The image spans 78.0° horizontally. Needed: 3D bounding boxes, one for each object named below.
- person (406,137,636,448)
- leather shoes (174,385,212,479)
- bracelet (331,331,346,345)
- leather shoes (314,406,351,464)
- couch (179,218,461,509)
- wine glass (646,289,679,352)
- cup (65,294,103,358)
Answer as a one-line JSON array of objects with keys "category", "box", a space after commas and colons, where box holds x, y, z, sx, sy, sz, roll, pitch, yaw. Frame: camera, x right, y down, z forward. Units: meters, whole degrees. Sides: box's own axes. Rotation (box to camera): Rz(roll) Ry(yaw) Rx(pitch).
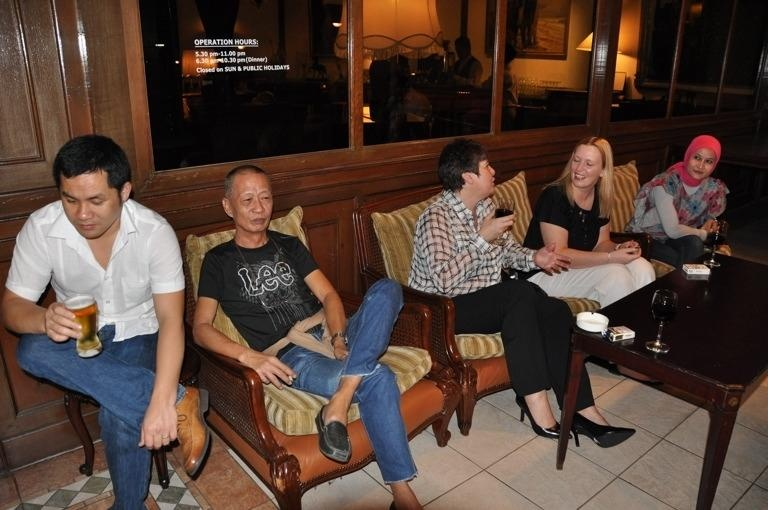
[{"category": "person", "box": [0.637, 0.143, 3.180, 1.260, 1.065, 1.029, -17, -19, 24]}, {"category": "leather shoes", "box": [-0.893, 0.831, 2.255, 0.163, 0.411, 0.245, -11, 21, -22]}, {"category": "bracelet", "box": [-0.238, 0.445, 2.536, 0.082, 0.077, 0.051, -18, 56, 12]}, {"category": "leather shoes", "box": [-0.249, 0.841, 2.247, 0.116, 0.095, 0.234, 3, 43, -36]}, {"category": "couch", "box": [-0.407, 0.430, 2.919, 1.231, 1.477, 1.598, -19, 32, -31]}, {"category": "wine glass", "box": [1.403, 0.308, 2.382, 0.107, 0.278, 0.295, 10, 23, 31]}, {"category": "cup", "box": [-1.283, 0.310, 2.043, 0.110, 0.301, 0.163, -17, 24, -34]}]
